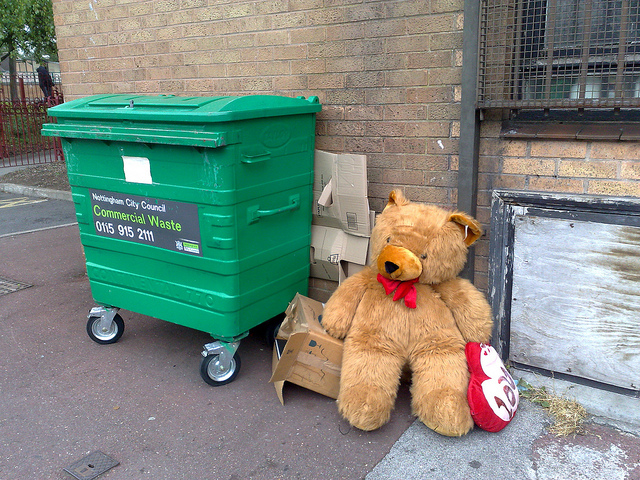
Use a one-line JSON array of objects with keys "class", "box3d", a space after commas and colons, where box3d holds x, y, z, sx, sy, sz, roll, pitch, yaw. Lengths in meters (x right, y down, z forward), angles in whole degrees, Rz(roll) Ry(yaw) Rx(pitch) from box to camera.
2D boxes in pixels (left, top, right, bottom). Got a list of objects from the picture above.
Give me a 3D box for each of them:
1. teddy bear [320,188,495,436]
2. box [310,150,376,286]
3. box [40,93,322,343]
[{"class": "teddy bear", "box3d": [0.541, 0.475, 2.992, 1.075, 1.406, 0.806, 7, 23, 18]}, {"class": "box", "box3d": [0.175, -0.179, 3.837, 0.491, 1.149, 0.476, 17, 24, 40]}, {"class": "box", "box3d": [-1.255, 0.131, 4.357, 2.696, 2.403, 1.806, 7, 15, 29]}]
